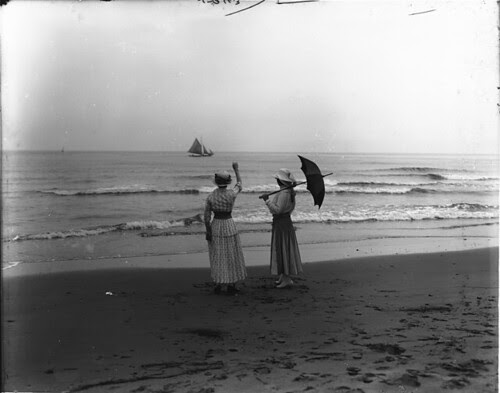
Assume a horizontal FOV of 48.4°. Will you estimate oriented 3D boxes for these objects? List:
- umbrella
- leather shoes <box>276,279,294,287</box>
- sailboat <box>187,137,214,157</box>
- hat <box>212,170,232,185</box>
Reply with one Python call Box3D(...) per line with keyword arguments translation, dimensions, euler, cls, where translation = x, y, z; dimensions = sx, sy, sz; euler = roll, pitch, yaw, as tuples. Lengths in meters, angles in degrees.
Box3D(translation=(0.936, -0.253, 9.383), dimensions=(0.682, 0.893, 1.084), euler=(-2, 3, 26), cls="umbrella")
Box3D(translation=(0.611, 1.503, 9.779), dimensions=(0.312, 0.224, 0.126), euler=(-5, 3, -2), cls="leather shoes")
Box3D(translation=(-1.045, -0.974, 11.255), dimensions=(0.665, 0.575, 0.250), euler=(0, 31, -3), cls="sailboat")
Box3D(translation=(-0.456, -0.298, 9.312), dimensions=(0.273, 0.260, 0.290), euler=(-3, 3, -3), cls="hat")
